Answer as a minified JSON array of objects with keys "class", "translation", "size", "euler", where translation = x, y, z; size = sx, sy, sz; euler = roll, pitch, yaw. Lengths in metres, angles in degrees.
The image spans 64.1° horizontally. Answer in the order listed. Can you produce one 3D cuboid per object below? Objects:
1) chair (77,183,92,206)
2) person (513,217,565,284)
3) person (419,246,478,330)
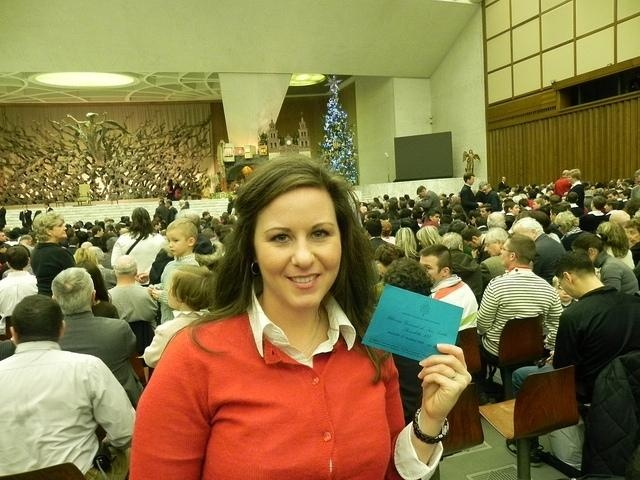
[{"class":"chair","translation":[-9.802,-1.917,21.304],"size":[0.432,0.866,1.001],"euler":[-5,5,-26]},{"class":"person","translation":[2.058,0.102,4.852],"size":[0.338,0.949,0.386],"euler":[8,24,37]},{"class":"person","translation":[1.109,0.395,4.319],"size":[0.376,0.580,0.712],"euler":[-8,0,33]}]
